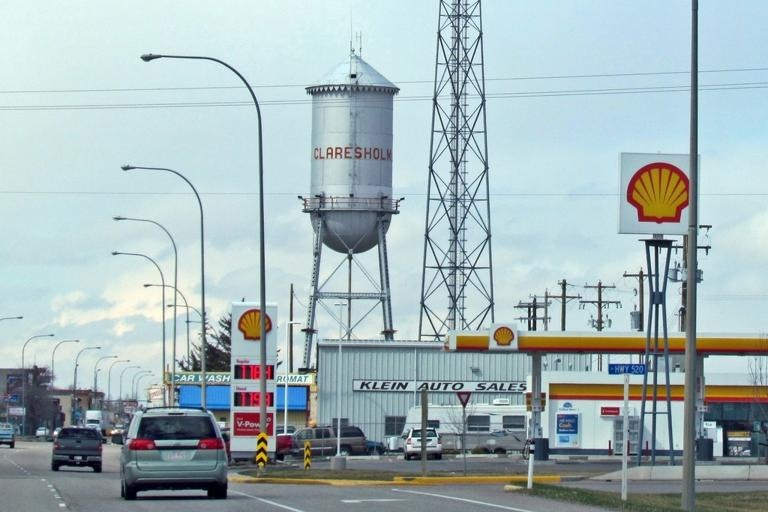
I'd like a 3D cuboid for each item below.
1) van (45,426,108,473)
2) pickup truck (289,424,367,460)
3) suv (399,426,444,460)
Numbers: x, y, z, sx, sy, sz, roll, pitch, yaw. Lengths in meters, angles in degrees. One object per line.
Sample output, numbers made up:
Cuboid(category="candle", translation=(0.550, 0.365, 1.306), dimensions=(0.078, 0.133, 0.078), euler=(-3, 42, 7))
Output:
Cuboid(category="van", translation=(-17.252, 10.910, 104.345), dimensions=(2.663, 2.726, 2.661), euler=(3, -14, -14))
Cuboid(category="pickup truck", translation=(-3.460, 12.136, 121.332), dimensions=(4.312, 2.059, 2.213), euler=(2, -4, -11))
Cuboid(category="suv", translation=(2.321, 11.906, 117.170), dimensions=(1.782, 1.507, 3.774), euler=(0, 0, 1))
